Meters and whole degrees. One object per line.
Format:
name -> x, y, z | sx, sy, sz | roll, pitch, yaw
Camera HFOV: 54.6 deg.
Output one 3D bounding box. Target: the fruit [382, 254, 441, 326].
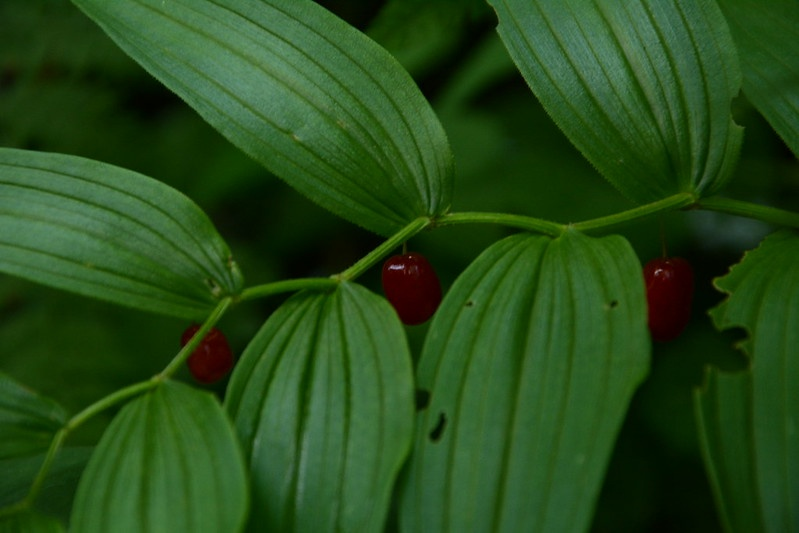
fruit -> 0.024, 0.044, 1.371 | 0.087, 0.123, 0.090 | 0, 8, 23
